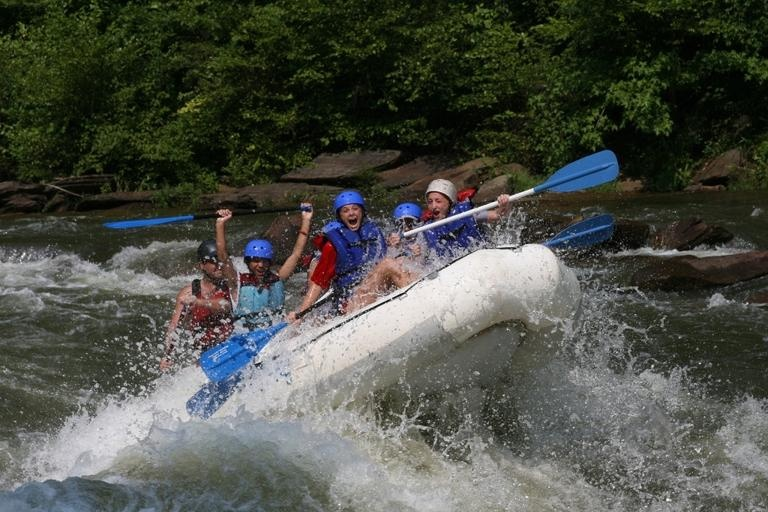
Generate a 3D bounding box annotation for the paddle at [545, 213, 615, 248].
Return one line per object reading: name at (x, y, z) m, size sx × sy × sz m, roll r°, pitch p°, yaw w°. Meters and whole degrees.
paddle at (3.422, -0.427, 17.416) m, size 1.423 × 0.297 × 0.359 m, roll -25°, pitch 98°, yaw -6°

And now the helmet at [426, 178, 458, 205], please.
helmet at (0.955, -1.068, 16.469) m, size 0.361 × 0.468 × 0.469 m, roll 2°, pitch 97°, yaw 16°

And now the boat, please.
boat at (-0.112, 1.431, 15.686) m, size 5.380 × 2.969 × 1.474 m, roll -26°, pitch 84°, yaw 3°

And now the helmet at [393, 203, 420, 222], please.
helmet at (0.385, -0.732, 16.691) m, size 0.278 × 0.380 × 0.298 m, roll -38°, pitch 39°, yaw 27°

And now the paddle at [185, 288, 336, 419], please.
paddle at (-2.105, 1.464, 16.102) m, size 0.884 × 0.376 × 3.652 m, roll 42°, pitch 32°, yaw 5°

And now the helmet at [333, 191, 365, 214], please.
helmet at (-0.584, -0.861, 16.277) m, size 0.323 × 0.446 × 0.338 m, roll -6°, pitch 50°, yaw -5°
